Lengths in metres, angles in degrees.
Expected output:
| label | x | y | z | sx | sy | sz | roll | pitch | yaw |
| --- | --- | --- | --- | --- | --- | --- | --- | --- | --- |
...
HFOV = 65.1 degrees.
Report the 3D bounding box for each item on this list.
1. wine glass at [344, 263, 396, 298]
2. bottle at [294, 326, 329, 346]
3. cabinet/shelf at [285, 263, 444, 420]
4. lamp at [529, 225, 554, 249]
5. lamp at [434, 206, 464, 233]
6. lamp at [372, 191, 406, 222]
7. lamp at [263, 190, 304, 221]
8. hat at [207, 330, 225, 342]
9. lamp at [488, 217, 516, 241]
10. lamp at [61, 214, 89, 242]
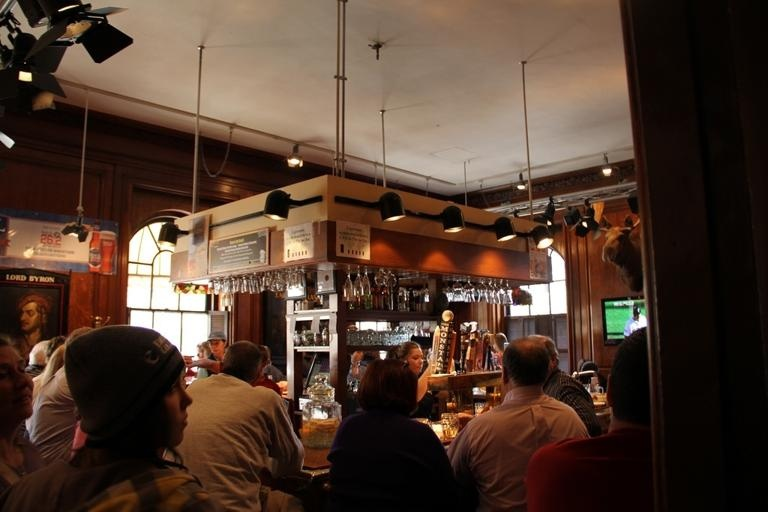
| label | x | y | z | sx | sy | sz | roll | pitch | yaw |
| --- | --- | --- | --- | --- | --- | --- | --- | --- | --- |
| wine glass | -0.159 | 0.200 | 4.604 | 0.316 | 0.234 | 0.384 | 2 | -11 | -19 |
| bottle | -0.670 | 0.744 | 5.482 | 0.264 | 0.094 | 0.226 | -8 | -13 | 35 |
| cabinet/shelf | -0.180 | 0.655 | 4.753 | 1.269 | 1.836 | 0.611 | 8 | -14 | -42 |
| lamp | 1.401 | -0.179 | 5.365 | 0.178 | 0.187 | 0.172 | 19 | -50 | -43 |
| lamp | 0.497 | -0.293 | 4.400 | 0.149 | 0.201 | 0.174 | -1 | -8 | -6 |
| lamp | 0.042 | -0.332 | 4.084 | 0.159 | 0.182 | 0.211 | -10 | -11 | -42 |
| lamp | -0.668 | -0.333 | 3.956 | 0.212 | 0.204 | 0.291 | -1 | -8 | -7 |
| hat | -1.875 | 0.896 | 6.794 | 0.140 | 0.084 | 0.189 | -3 | -17 | 8 |
| lamp | 0.958 | -0.237 | 4.801 | 0.147 | 0.214 | 0.240 | -2 | -8 | 5 |
| lamp | -3.378 | -0.311 | 6.536 | 0.244 | 0.235 | 0.301 | 13 | -14 | -15 |
